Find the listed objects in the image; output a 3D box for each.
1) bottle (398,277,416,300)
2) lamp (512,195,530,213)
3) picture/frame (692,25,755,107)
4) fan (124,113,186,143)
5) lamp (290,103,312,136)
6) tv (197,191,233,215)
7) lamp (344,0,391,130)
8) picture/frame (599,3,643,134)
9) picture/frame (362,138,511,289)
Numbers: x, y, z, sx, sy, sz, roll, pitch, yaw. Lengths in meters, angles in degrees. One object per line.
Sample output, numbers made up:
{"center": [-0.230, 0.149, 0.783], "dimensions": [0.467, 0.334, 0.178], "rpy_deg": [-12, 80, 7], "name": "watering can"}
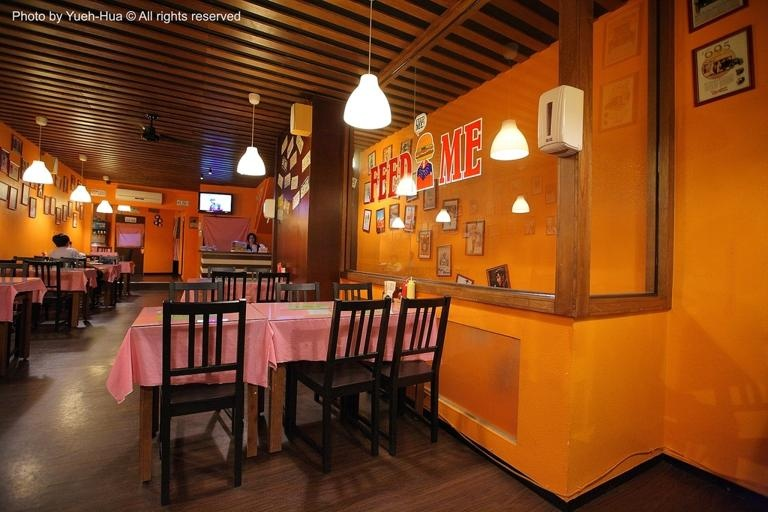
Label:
{"center": [0.239, 0.351, 5.727], "dimensions": [0.193, 0.329, 0.192], "rpy_deg": [0, 4, 0], "name": "bottle"}
{"center": [1.335, -0.505, 5.242], "dimensions": [0.154, 0.142, 0.153], "rpy_deg": [0, -4, -3], "name": "lamp"}
{"center": [3.028, -1.694, 4.811], "dimensions": [0.020, 0.597, 0.458], "rpy_deg": [16, -18, -34], "name": "picture/frame"}
{"center": [-3.633, -2.002, 8.704], "dimensions": [0.664, 0.330, 1.302], "rpy_deg": [0, 0, -24], "name": "fan"}
{"center": [-1.109, -1.805, 7.094], "dimensions": [0.287, 0.411, 0.186], "rpy_deg": [0, 0, -33], "name": "lamp"}
{"center": [-4.420, -1.380, 13.988], "dimensions": [0.664, 0.462, 0.092], "rpy_deg": [0, 6, -25], "name": "tv"}
{"center": [-0.159, -1.954, 5.530], "dimensions": [0.416, 1.445, 1.146], "rpy_deg": [0, 0, 0], "name": "lamp"}
{"center": [2.218, -1.801, 5.101], "dimensions": [0.405, 1.202, 0.177], "rpy_deg": [0, 0, -14], "name": "picture/frame"}
{"center": [0.626, -0.454, 5.935], "dimensions": [0.085, 1.263, 1.882], "rpy_deg": [8, -6, -37], "name": "picture/frame"}
